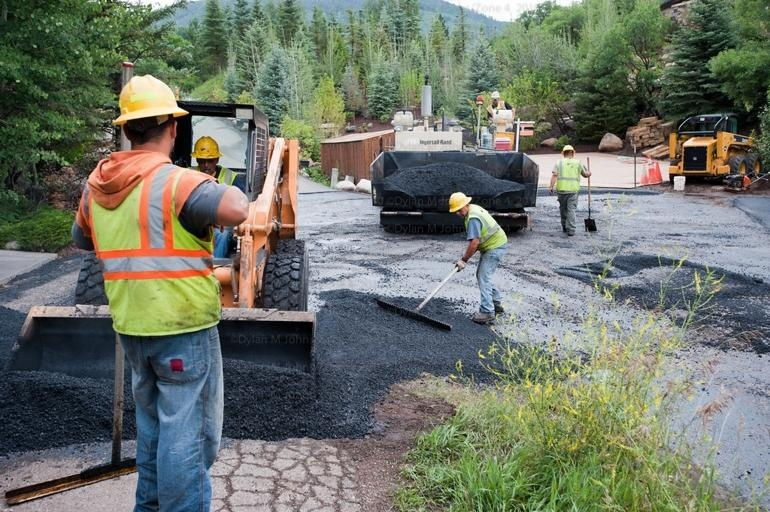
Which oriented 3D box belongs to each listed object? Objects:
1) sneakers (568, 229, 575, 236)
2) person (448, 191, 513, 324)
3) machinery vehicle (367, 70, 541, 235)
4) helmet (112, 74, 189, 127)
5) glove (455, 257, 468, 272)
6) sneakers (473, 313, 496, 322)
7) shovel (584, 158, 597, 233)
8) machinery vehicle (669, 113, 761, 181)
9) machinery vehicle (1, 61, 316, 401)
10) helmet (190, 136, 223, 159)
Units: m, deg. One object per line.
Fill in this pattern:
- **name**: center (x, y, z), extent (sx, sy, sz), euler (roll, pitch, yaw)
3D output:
- **sneakers**: center (4.180, -0.496, 13.359), extent (0.089, 0.055, 0.163), euler (-1, -37, -6)
- **person**: center (1.326, 0.023, 8.372), extent (0.751, 1.718, 0.676), euler (4, 15, 14)
- **machinery vehicle**: center (2.019, -1.808, 14.800), extent (4.004, 2.664, 4.076), euler (3, 2, 7)
- **helmet**: center (-1.666, -1.078, 4.174), extent (0.359, 0.252, 0.438), euler (-8, 12, -8)
- **glove**: center (1.065, 0.138, 8.313), extent (0.188, 0.108, 0.276), euler (1, 1, -1)
- **sneakers**: center (1.375, 0.888, 8.261), extent (0.271, 0.152, 0.129), euler (6, 5, 7)
- **shovel**: center (4.545, -1.180, 13.330), extent (0.268, 1.336, 0.141), euler (-6, 6, -3)
- **machinery vehicle**: center (11.655, -3.809, 21.228), extent (1.984, 2.069, 3.603), euler (1, 5, 36)
- **machinery vehicle**: center (-2.483, -0.492, 8.355), extent (3.008, 3.136, 5.816), euler (-1, 6, -6)
- **helmet**: center (-2.059, -1.221, 6.875), extent (0.254, 0.182, 0.303), euler (0, 21, -3)
